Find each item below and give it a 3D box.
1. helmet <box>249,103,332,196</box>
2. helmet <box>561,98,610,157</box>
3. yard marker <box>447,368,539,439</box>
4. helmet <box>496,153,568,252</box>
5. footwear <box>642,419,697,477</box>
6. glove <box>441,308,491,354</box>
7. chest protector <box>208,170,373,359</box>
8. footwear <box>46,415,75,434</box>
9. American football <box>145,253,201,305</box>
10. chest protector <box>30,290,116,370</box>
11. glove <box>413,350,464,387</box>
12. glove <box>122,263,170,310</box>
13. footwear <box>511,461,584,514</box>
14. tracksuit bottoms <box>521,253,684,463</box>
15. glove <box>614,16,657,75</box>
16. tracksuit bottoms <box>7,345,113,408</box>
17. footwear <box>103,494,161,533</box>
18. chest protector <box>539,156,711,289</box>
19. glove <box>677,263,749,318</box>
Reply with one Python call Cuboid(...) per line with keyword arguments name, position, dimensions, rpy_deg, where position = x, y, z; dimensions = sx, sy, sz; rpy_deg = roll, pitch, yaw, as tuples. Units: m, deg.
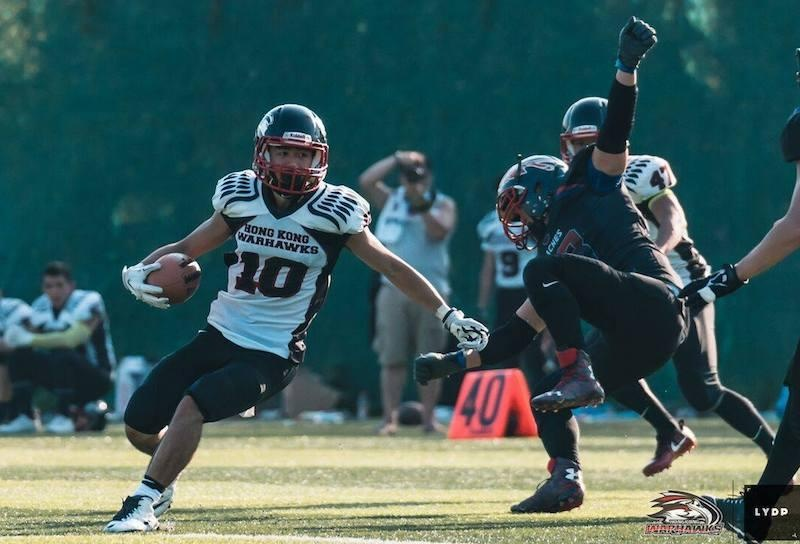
Cuboid(name="helmet", position=(-0.669, -0.750, 7.840), dimensions=(0.472, 0.454, 0.591), rpy_deg=(2, -1, -8))
Cuboid(name="helmet", position=(1.212, -0.948, 8.393), dimensions=(0.323, 0.358, 0.406), rpy_deg=(8, 15, 5))
Cuboid(name="yard marker", position=(0.883, 1.271, 11.925), dimensions=(0.709, 0.782, 1.127), rpy_deg=(9, -12, -30))
Cuboid(name="helmet", position=(0.893, -0.437, 8.111), dimensions=(0.500, 0.590, 0.398), rpy_deg=(3, 3, 29))
Cuboid(name="footwear", position=(1.776, 1.176, 8.639), dimensions=(0.526, 0.245, 0.168), rpy_deg=(-27, 5, -27))
Cuboid(name="glove", position=(0.452, 0.328, 7.866), dimensions=(0.301, 0.216, 0.139), rpy_deg=(37, 36, 10))
Cuboid(name="chest protector", position=(-0.699, -0.026, 7.844), dimensions=(0.944, 1.159, 0.313), rpy_deg=(2, 3, -5))
Cuboid(name="footwear", position=(-3.339, 1.477, 12.500), dimensions=(0.256, 0.161, 0.105), rpy_deg=(1, 3, -11))
Cuboid(name="American football", position=(-1.427, 0.028, 7.849), dimensions=(0.443, 0.319, 0.327), rpy_deg=(2, 6, 15))
Cuboid(name="chest protector", position=(-3.240, 0.531, 12.729), dimensions=(0.715, 0.858, 0.354), rpy_deg=(-14, 12, -17))
Cuboid(name="glove", position=(0.238, 0.585, 7.930), dimensions=(0.321, 0.210, 0.216), rpy_deg=(1, 3, -20))
Cuboid(name="glove", position=(-1.563, 0.072, 7.758), dimensions=(0.224, 0.267, 0.267), rpy_deg=(0, 4, -38))
Cuboid(name="footwear", position=(0.937, 1.349, 8.014), dimensions=(0.213, 0.366, 0.542), rpy_deg=(21, -36, -31))
Cuboid(name="tracksuit bottoms", position=(1.323, 0.567, 8.409), dimensions=(1.011, 1.095, 1.468), rpy_deg=(4, 22, 6))
Cuboid(name="glove", position=(1.440, -1.370, 7.708), dimensions=(0.212, 0.355, 0.249), rpy_deg=(2, 3, 10))
Cuboid(name="tracksuit bottoms", position=(-3.379, 0.984, 12.530), dimensions=(0.789, 0.250, 0.564), rpy_deg=(15, 22, -9))
Cuboid(name="footwear", position=(-1.536, 1.380, 7.343), dimensions=(0.353, 0.183, 0.262), rpy_deg=(0, 3, -30))
Cuboid(name="chest protector", position=(1.791, -0.350, 8.711), dimensions=(0.891, 0.806, 0.363), rpy_deg=(-8, 3, 22))
Cuboid(name="glove", position=(1.878, 0.100, 7.594), dimensions=(0.350, 0.213, 0.136), rpy_deg=(-20, -7, 20))
